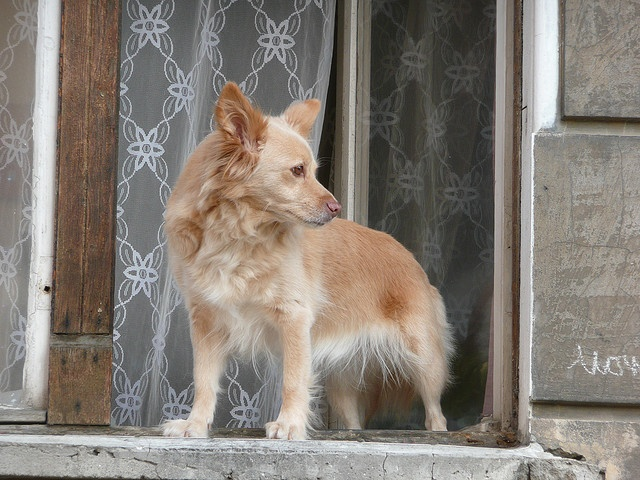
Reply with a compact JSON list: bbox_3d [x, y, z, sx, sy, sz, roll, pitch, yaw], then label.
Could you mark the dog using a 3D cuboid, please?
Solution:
[{"bbox_3d":[0.012,0.197,6.017,1.223,1.878,2.083,0,-3,40],"label":"dog"}]
